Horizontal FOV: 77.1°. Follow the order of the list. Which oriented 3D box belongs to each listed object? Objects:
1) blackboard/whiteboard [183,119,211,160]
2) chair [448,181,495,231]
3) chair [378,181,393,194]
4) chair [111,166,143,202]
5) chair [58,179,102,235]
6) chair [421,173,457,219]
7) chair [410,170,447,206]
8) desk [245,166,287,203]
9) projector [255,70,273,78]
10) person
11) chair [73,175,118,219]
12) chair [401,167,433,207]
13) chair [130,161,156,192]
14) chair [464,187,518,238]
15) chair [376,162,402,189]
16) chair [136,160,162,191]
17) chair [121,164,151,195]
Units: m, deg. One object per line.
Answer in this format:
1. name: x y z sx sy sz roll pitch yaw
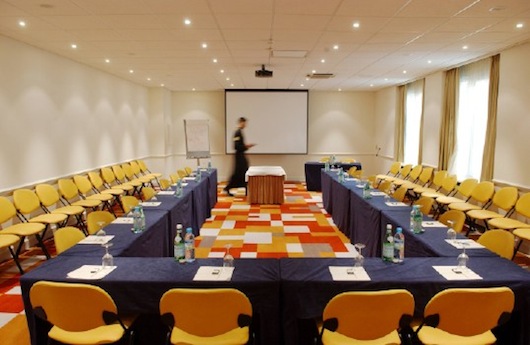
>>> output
1. blackboard/whiteboard: -2.233 -1.089 10.910 0.738 1.213 0.437 -2 10 -15
2. chair: 4.195 0.577 6.803 0.784 0.673 0.548 -6 12 -5
3. chair: 2.797 0.341 7.742 0.321 0.250 0.243 -21 27 -16
4. chair: -3.770 0.235 8.934 0.609 0.965 0.732 -16 4 -4
5. chair: -3.845 0.646 7.054 0.821 1.047 0.640 0 12 6
6. chair: 4.069 0.494 7.835 0.710 0.886 0.589 -3 12 8
7. chair: 4.036 0.425 8.318 0.768 0.999 0.632 3 9 5
8. desk: 0.109 0.346 9.461 1.345 0.877 1.021 -1 1 14
9. projector: -0.033 -2.303 7.745 0.381 0.157 0.372 0 7 1
10. person: -0.794 -0.449 9.899 0.790 2.309 0.922 0 10 -3
11. chair: -3.865 0.472 7.841 0.981 1.211 0.787 6 11 15
12. chair: 4.019 0.332 8.852 0.701 0.904 0.562 -1 9 5
13. chair: -3.599 0.089 10.122 0.768 0.932 0.631 -1 -15 -27
14. chair: 4.356 0.762 6.450 0.766 0.951 0.571 -7 15 -2
15. chair: 3.802 0.140 10.266 0.683 0.861 0.535 -7 10 -13
16. chair: -3.637 0.069 10.506 0.723 0.919 0.619 6 11 14
17. chair: -3.636 0.160 9.612 0.793 0.981 0.656 3 25 47
